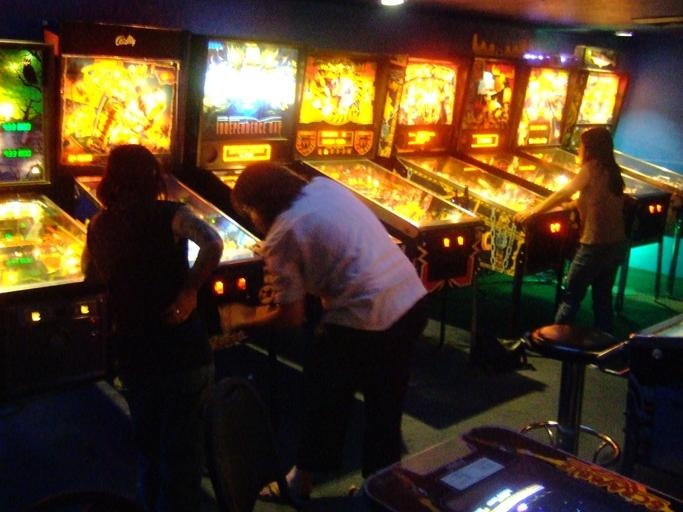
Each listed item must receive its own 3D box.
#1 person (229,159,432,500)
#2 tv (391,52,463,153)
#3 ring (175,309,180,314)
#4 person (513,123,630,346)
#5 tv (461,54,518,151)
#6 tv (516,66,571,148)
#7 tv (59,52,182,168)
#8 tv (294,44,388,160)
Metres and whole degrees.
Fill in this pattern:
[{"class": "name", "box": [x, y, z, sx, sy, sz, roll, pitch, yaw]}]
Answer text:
[{"class": "person", "box": [-0.053, 0.360, 2.417, 0.889, 1.439, 0.543, 2, 13, 8]}, {"class": "tv", "box": [0.712, -1.467, 5.101, 0.762, 0.733, 0.409, -5, 18, -26]}, {"class": "ring", "box": [-0.698, 0.237, 2.309, 0.005, 0.018, 0.019, 8, 10, 42]}, {"class": "person", "box": [1.897, -0.200, 4.288, 0.667, 1.591, 0.364, 11, 15, 27]}, {"class": "tv", "box": [1.447, -1.530, 5.341, 0.901, 1.060, 0.142, -12, 29, -42]}, {"class": "tv", "box": [2.147, -1.628, 5.811, 0.766, 0.858, 0.085, -16, 30, -39]}, {"class": "tv", "box": [-1.446, -0.956, 3.455, 0.258, 0.660, 0.763, 27, 27, 36]}, {"class": "tv", "box": [-0.044, -1.186, 4.377, 0.879, 0.842, 0.105, -12, 19, -41]}]
